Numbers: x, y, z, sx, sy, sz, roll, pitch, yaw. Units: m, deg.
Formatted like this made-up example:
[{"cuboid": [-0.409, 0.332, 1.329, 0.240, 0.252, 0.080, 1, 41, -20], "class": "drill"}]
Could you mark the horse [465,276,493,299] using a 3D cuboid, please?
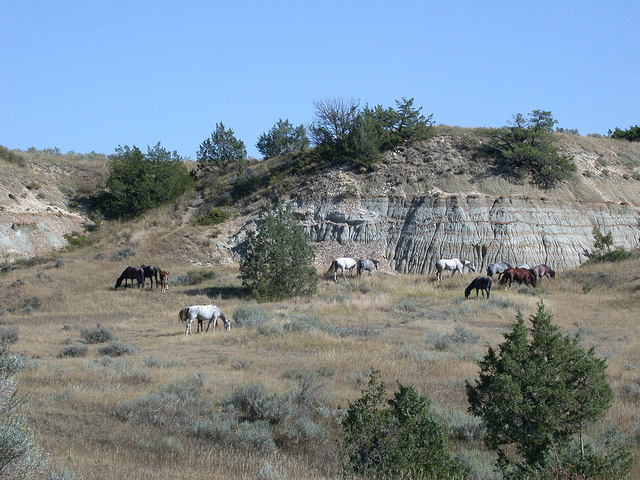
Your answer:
[{"cuboid": [9.933, 2.946, 53.496, 1.538, 1.491, 1.602, 5, -3, 13], "class": "horse"}]

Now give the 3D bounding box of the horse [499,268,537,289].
[{"cuboid": [13.167, 2.573, 56.525, 2.276, 1.530, 1.086, 6, -3, -12], "class": "horse"}]

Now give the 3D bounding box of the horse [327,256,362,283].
[{"cuboid": [1.616, 2.171, 61.874, 1.979, 1.795, 3.393, 5, -3, 14], "class": "horse"}]
